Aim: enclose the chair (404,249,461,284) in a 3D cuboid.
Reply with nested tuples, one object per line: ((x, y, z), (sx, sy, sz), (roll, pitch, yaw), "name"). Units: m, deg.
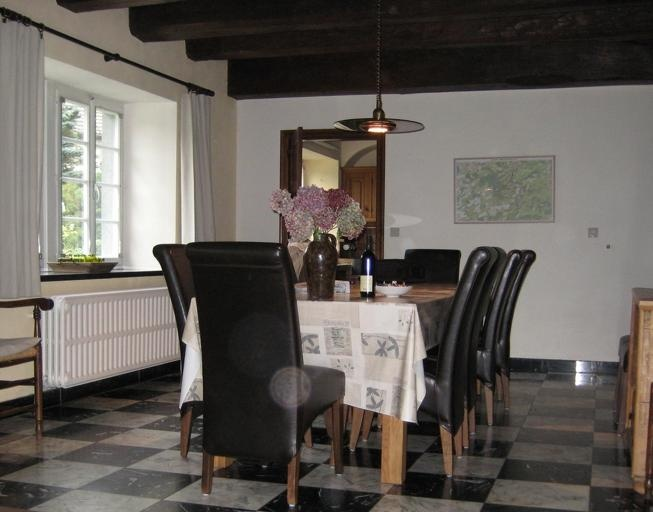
((0.996, 0.091, 5.196), (0.355, 0.248, 0.372), (0, -4, 17), "chair")

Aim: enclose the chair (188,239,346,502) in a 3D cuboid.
((-0.354, 0.561, 2.576), (0.499, 1.243, 0.272), (1, 2, 18), "chair")

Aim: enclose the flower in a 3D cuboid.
((-0.043, -0.234, 3.223), (0.405, 0.304, 0.324), (2, 1, -7), "flower")

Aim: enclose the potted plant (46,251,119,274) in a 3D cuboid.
((-2.021, 0.065, 4.668), (0.503, 0.161, 0.340), (0, 1, -13), "potted plant")

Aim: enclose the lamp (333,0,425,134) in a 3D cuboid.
((0.398, -1.520, 4.725), (0.652, 1.192, 1.744), (1, 1, 1), "lamp")

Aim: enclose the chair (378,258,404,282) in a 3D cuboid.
((0.570, 0.169, 4.993), (0.298, 0.233, 0.169), (1, 1, 0), "chair")

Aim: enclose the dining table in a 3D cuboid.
((0.188, 0.520, 2.962), (0.977, 0.651, 1.174), (2, 4, 24), "dining table")
